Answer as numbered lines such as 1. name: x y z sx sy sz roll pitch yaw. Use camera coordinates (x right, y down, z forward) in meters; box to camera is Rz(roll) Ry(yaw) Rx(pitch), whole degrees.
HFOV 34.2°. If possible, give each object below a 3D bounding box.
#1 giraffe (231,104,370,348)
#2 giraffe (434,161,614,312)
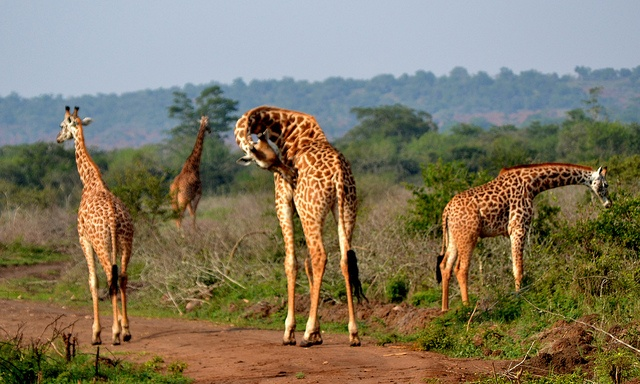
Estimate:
1. giraffe: -0.927 1.600 45.484 4.597 11.333 4.748 -1 0 -33
2. giraffe: 9.153 1.865 47.070 8.196 6.766 2.127 -4 1 4
